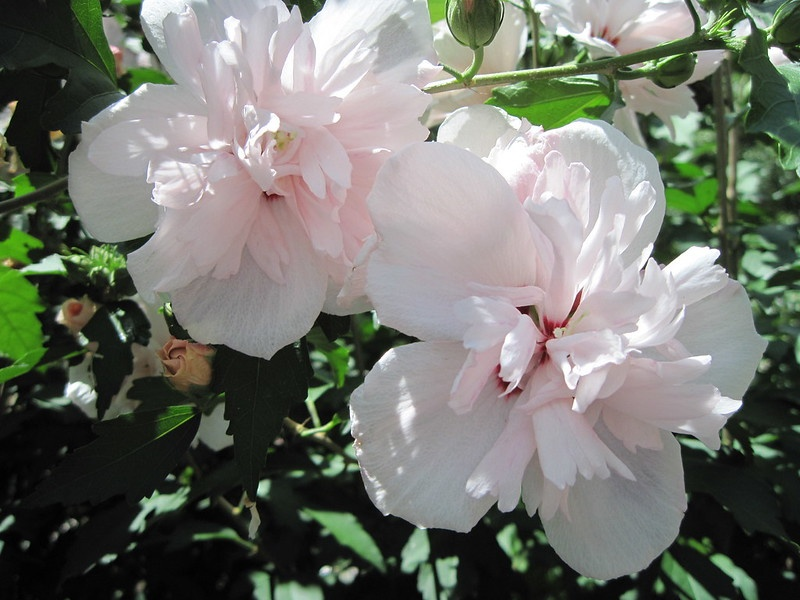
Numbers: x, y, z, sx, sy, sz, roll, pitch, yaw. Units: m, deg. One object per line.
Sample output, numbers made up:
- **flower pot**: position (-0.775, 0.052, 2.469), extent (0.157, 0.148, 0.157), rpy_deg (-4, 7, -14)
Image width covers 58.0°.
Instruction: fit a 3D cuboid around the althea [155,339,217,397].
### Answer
- **althea**: position (-0.475, 0.147, 1.618), extent (0.116, 0.082, 0.115), rpy_deg (19, 97, 13)
